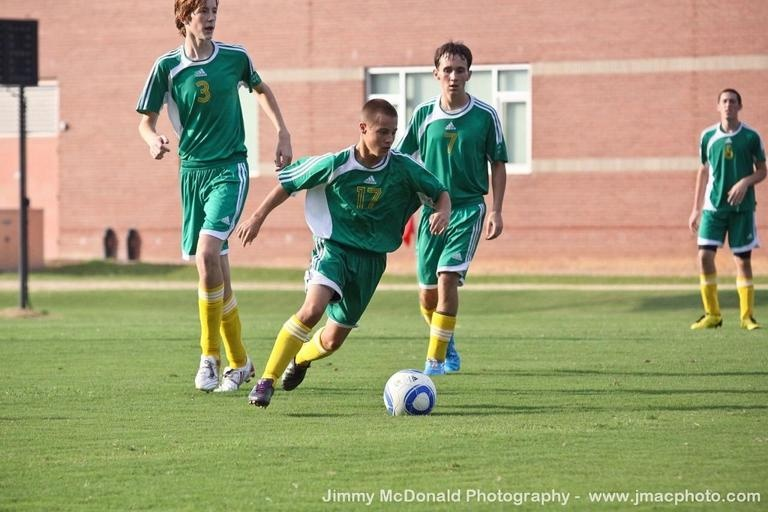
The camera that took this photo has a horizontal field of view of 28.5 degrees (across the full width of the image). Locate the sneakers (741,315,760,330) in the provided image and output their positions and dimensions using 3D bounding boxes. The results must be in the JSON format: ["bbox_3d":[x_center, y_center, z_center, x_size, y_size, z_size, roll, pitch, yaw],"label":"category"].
[{"bbox_3d":[5.224,0.982,21.577,0.157,0.177,0.263,1,-6,-8],"label":"sneakers"}]

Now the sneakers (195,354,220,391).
[{"bbox_3d":[-2.133,1.436,18.258,0.289,0.409,0.249,-4,10,-13],"label":"sneakers"}]

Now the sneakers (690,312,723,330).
[{"bbox_3d":[4.626,0.975,21.675,0.486,0.208,0.185,-2,2,-1],"label":"sneakers"}]

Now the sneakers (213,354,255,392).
[{"bbox_3d":[-1.756,1.468,18.380,0.642,0.266,0.210,-34,22,-32],"label":"sneakers"}]

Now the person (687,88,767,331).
[{"bbox_3d":[4.919,-0.664,21.638,1.059,3.376,0.995,2,10,19],"label":"person"}]

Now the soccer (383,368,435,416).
[{"bbox_3d":[0.259,1.555,17.781,0.567,0.549,0.530,-15,8,-11],"label":"soccer"}]

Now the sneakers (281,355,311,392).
[{"bbox_3d":[-1.076,1.445,18.090,0.195,0.527,0.226,36,-3,-22],"label":"sneakers"}]
